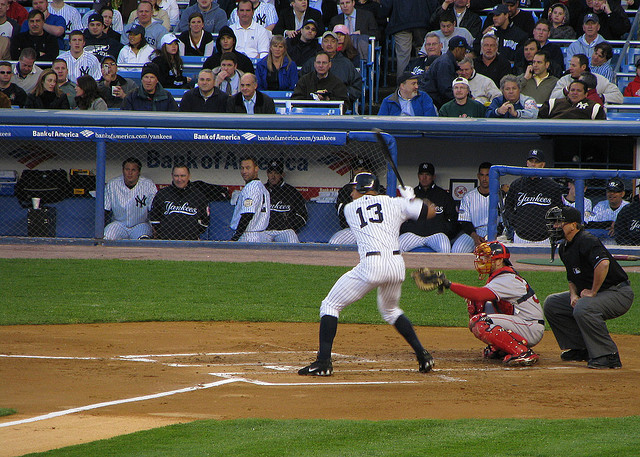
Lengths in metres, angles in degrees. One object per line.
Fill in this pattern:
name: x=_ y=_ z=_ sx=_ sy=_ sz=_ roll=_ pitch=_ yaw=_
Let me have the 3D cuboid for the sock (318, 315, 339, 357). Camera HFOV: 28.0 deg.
sock: x=0.078 y=1.377 z=16.533 sx=0.227 sy=0.543 sz=0.178 roll=3 pitch=4 yaw=10

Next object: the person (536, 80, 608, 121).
person: x=4.403 y=-2.138 z=22.526 sx=1.224 sy=0.837 sz=0.618 roll=6 pitch=-3 yaw=21

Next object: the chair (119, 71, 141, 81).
chair: x=-3.663 y=-2.948 z=24.692 sx=0.438 sy=0.213 sz=0.100 roll=5 pitch=-18 yaw=1

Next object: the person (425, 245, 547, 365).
person: x=2.391 y=0.993 z=17.276 sx=1.176 sy=1.565 sz=1.343 roll=3 pitch=5 yaw=20

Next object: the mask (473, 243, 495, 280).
mask: x=2.172 y=0.436 z=17.253 sx=0.253 sy=0.499 sz=0.336 roll=1 pitch=4 yaw=-6

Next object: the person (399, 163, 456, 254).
person: x=1.844 y=-0.352 z=22.740 sx=1.132 sy=1.512 sz=0.948 roll=-3 pitch=5 yaw=18

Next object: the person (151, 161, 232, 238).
person: x=-2.423 y=-0.462 z=22.878 sx=1.218 sy=1.271 sz=0.492 roll=1 pitch=4 yaw=-14

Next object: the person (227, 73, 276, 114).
person: x=-1.234 y=-2.281 z=22.770 sx=0.900 sy=0.848 sz=0.554 roll=3 pitch=8 yaw=19

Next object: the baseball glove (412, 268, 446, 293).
baseball glove: x=1.412 y=0.697 z=16.941 sx=0.392 sy=0.279 sz=0.151 roll=15 pitch=-30 yaw=3

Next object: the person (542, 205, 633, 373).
person: x=3.516 y=0.790 z=17.086 sx=1.117 sy=2.133 sz=0.767 roll=3 pitch=4 yaw=14

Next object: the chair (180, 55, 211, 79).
chair: x=-2.416 y=-3.127 z=24.825 sx=0.842 sy=0.535 sz=0.464 roll=0 pitch=-2 yaw=-1

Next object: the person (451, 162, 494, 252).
person: x=2.641 y=-0.366 z=22.674 sx=0.632 sy=1.582 sz=0.770 roll=2 pitch=4 yaw=5

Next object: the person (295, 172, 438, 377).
person: x=0.706 y=0.607 z=16.661 sx=1.575 sy=2.607 sz=0.704 roll=2 pitch=4 yaw=2

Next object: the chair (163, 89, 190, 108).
chair: x=-2.679 y=-2.490 z=23.782 sx=0.476 sy=0.412 sz=0.377 roll=0 pitch=-6 yaw=3

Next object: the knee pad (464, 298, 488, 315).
knee pad: x=2.094 y=1.042 z=17.287 sx=0.243 sy=0.220 sz=0.187 roll=-5 pitch=5 yaw=-3

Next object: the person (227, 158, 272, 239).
person: x=-1.247 y=-0.485 z=22.718 sx=0.480 sy=1.607 sz=0.769 roll=18 pitch=34 yaw=18

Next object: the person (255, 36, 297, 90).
person: x=-0.812 y=-3.009 z=23.876 sx=0.898 sy=1.088 sz=0.884 roll=4 pitch=7 yaw=16
